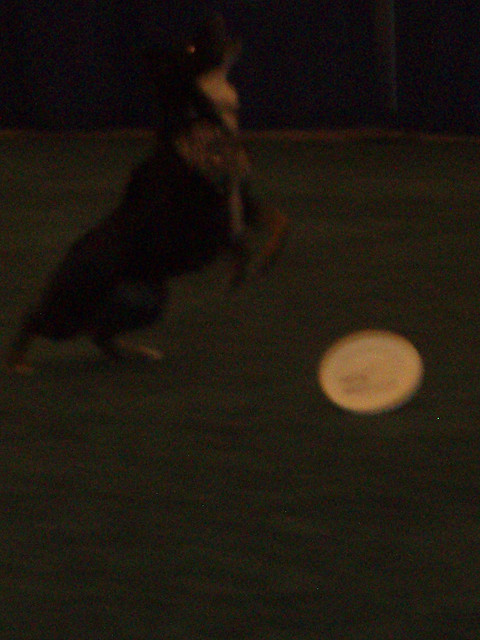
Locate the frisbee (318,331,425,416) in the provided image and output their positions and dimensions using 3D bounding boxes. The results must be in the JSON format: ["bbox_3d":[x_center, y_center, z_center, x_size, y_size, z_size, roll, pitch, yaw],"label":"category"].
[{"bbox_3d":[0.318,0.125,1.821,0.283,0.199,0.035,-13,4,-20],"label":"frisbee"}]
